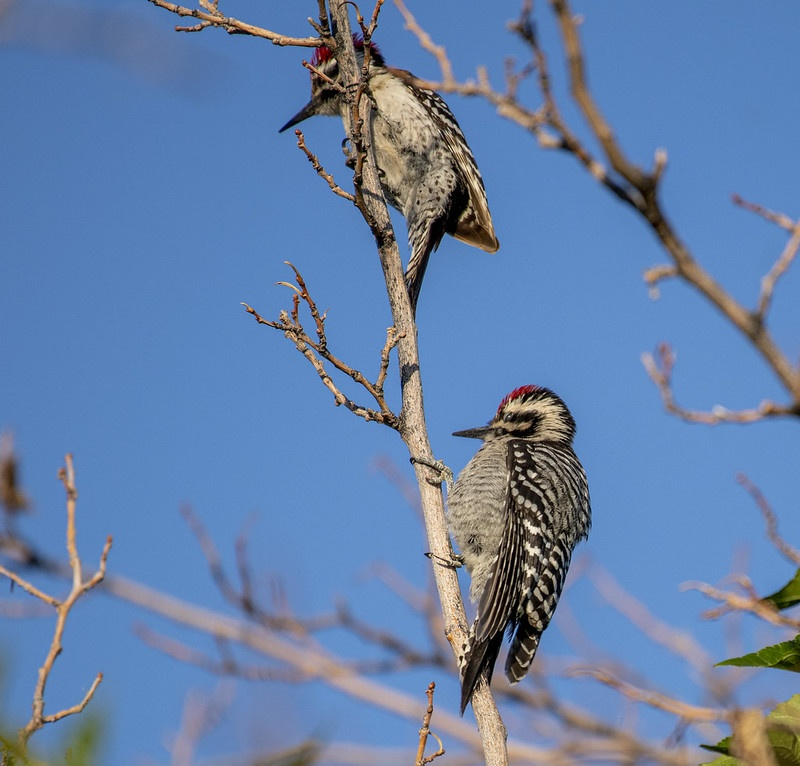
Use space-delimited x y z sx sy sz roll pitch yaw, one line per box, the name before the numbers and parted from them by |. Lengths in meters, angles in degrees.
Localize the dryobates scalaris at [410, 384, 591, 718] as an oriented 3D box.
dryobates scalaris | 0.552 1.023 8.395 0.759 2.183 0.640 -4 -32 23
